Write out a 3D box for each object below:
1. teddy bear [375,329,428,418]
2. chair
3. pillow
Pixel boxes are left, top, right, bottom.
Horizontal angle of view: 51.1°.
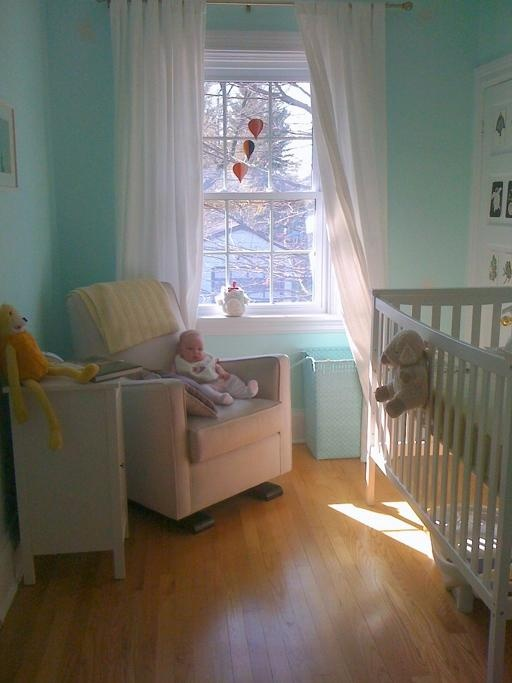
[{"bbox_3d":[0.431,0.085,1.576,0.114,0.245,0.197,-3,12,-5],"label":"teddy bear"},{"bbox_3d":[-0.292,0.198,2.275,0.799,0.963,0.822,-6,6,-22],"label":"chair"},{"bbox_3d":[-0.300,0.198,2.055,0.217,0.168,0.369,-4,7,-27],"label":"pillow"}]
